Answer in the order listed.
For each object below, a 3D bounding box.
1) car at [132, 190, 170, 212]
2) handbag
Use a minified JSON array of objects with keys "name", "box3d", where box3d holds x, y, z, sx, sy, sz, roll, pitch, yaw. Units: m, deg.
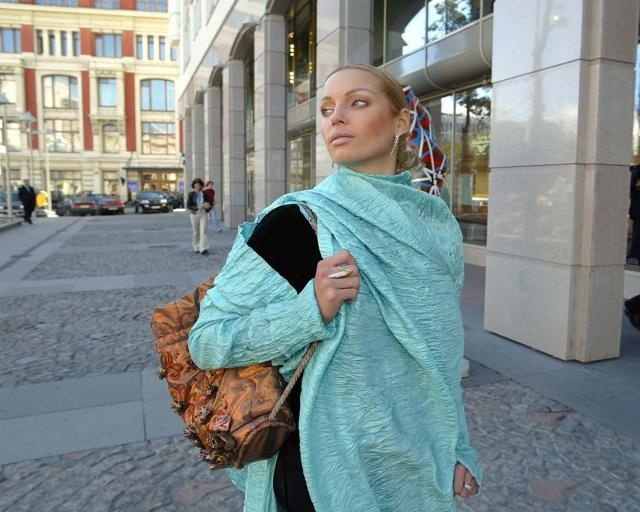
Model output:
[{"name":"car","box3d":[-10.617,-3.337,34.359,1.263,1.002,2.302,-2,-1,-24]},{"name":"handbag","box3d":[-0.318,0.405,2.154,0.566,0.742,0.282,-22,-21,29]}]
